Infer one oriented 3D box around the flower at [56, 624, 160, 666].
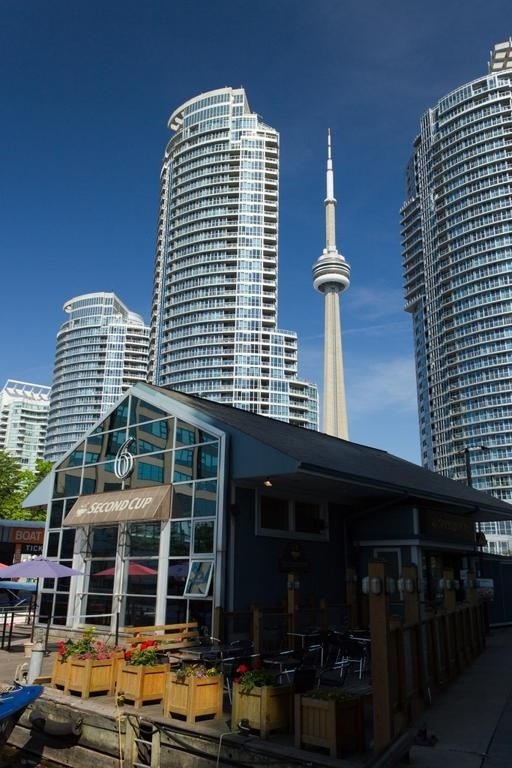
[{"bbox_3d":[-2.479,4.795,11.209,1.373,0.667,1.401,-9,-21,33],"label":"flower"}]
